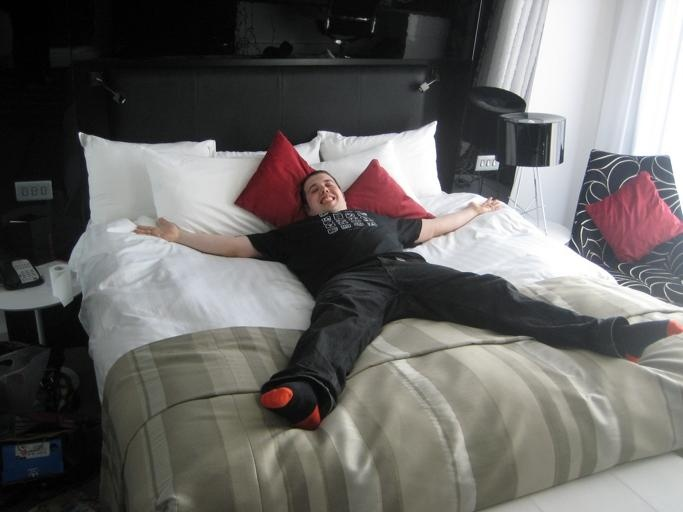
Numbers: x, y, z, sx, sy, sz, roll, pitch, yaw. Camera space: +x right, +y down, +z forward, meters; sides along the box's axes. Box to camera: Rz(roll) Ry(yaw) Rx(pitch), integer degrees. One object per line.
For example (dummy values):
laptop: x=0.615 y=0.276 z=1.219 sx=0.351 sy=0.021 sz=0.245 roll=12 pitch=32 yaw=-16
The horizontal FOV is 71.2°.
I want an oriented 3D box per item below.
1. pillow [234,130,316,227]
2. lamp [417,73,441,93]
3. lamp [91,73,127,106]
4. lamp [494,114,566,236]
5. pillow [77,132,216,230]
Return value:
pillow: x=-0.506 y=-0.507 z=2.917 sx=0.107 sy=0.521 sz=0.516 roll=29 pitch=-26 yaw=-21
lamp: x=0.644 y=-1.282 z=3.551 sx=0.216 sy=0.086 sz=0.043 roll=-35 pitch=8 yaw=-19
lamp: x=-1.355 y=-0.980 z=2.778 sx=0.198 sy=0.039 sz=0.053 roll=36 pitch=1 yaw=-33
lamp: x=1.313 y=-0.536 z=3.409 sx=0.473 sy=0.790 sz=0.482 roll=5 pitch=14 yaw=15
pillow: x=-1.113 y=-0.547 z=2.952 sx=0.787 sy=0.206 sz=0.528 roll=-4 pitch=-13 yaw=-34
